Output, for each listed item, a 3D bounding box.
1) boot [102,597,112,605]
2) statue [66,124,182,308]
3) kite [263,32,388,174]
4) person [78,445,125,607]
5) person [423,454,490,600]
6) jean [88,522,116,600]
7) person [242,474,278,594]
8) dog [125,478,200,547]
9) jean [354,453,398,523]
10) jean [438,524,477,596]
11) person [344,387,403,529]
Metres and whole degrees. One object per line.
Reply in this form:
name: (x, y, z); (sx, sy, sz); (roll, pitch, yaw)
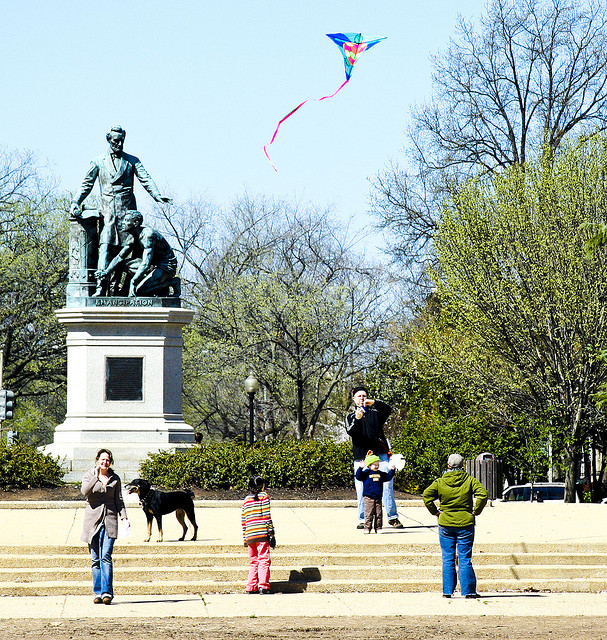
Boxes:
boot: (-2.201, 3.152, 15.028); (0.079, 0.059, 0.074); (-4, -8, 22)
statue: (-3.751, -1.989, 27.398); (2.208, 3.765, 1.451); (-1, -7, -4)
kite: (0.701, -3.597, 19.436); (1.085, 0.573, 3.615); (7, 18, 2)
person: (-2.270, 2.359, 15.162); (0.477, 1.748, 0.368); (0, -7, -9)
person: (1.763, 2.395, 15.419); (0.724, 1.655, 0.605); (-3, -7, 9)
jean: (-2.276, 2.720, 15.116); (0.273, 0.842, 0.283); (0, -7, -10)
person: (-0.528, 2.537, 15.689); (0.361, 1.365, 0.372); (-1, -7, -4)
dog: (-1.776, 2.524, 17.556); (1.288, 0.815, 0.336); (9, -18, -42)
jean: (1.003, 2.342, 18.556); (0.575, 0.939, 1.434); (-2, -7, 3)
jean: (1.780, 2.776, 15.471); (0.393, 0.819, 0.392); (-2, -7, 4)
person: (0.961, 1.903, 18.376); (0.636, 1.970, 0.639); (-4, -6, -6)
